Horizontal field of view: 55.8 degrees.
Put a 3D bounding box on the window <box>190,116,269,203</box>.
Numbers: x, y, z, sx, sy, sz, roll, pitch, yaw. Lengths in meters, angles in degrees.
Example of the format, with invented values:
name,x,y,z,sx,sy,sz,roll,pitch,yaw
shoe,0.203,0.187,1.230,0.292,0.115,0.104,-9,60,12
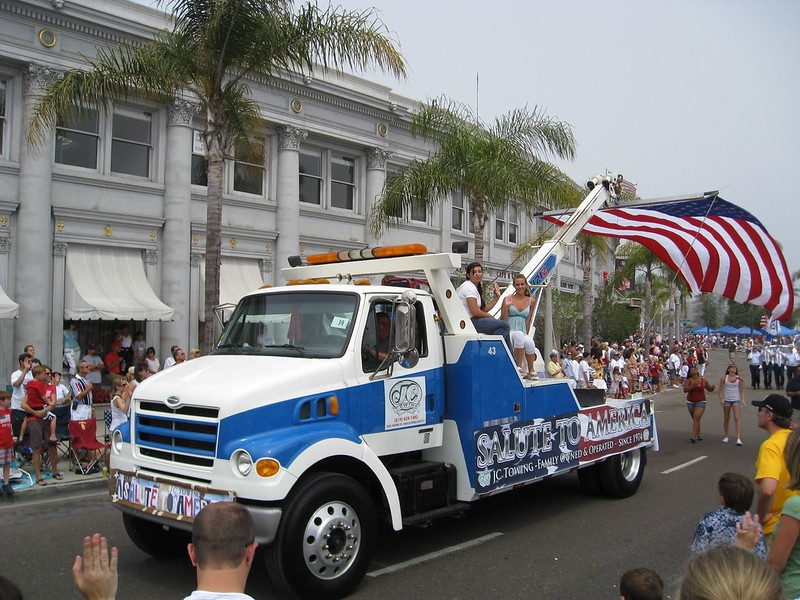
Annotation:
name,x,y,z,sx,sy,sz,roll,pitch,yaw
window,-4.892,-3.969,21.182,0.452,2.078,3.292,-4,-9,40

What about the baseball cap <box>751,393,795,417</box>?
name,x,y,z,sx,sy,sz,roll,pitch,yaw
baseball cap,4.350,1.222,8.827,0.279,0.263,0.404,2,19,-46

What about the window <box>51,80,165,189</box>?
name,x,y,z,sx,sy,sz,roll,pitch,yaw
window,-8.564,-4.740,21.919,2.907,2.259,0.316,3,0,-39

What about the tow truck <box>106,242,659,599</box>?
name,x,y,z,sx,sy,sz,roll,pitch,yaw
tow truck,0.443,1.347,11.723,9.379,4.358,3.046,-4,4,-40

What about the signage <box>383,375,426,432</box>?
name,x,y,z,sx,sy,sz,roll,pitch,yaw
signage,0.031,1.364,9.926,0.028,0.648,0.693,-5,-4,38

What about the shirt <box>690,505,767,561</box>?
name,x,y,z,sx,sy,sz,roll,pitch,yaw
shirt,3.227,2.363,7.696,0.458,0.447,0.425,1,4,33

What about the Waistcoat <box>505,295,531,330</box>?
name,x,y,z,sx,sy,sz,roll,pitch,yaw
Waistcoat,1.924,0.195,12.410,0.426,0.613,0.326,3,-12,-9

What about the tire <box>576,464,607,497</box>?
name,x,y,z,sx,sy,sz,roll,pitch,yaw
tire,3.296,3.075,12.885,0.251,0.810,0.723,-1,-1,31

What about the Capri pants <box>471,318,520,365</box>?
name,x,y,z,sx,sy,sz,roll,pitch,yaw
Capri pants,1.475,0.644,11.537,0.591,0.829,0.655,-11,-6,12

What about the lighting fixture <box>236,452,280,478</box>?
name,x,y,z,sx,sy,sz,roll,pitch,yaw
lighting fixture,-1.638,1.880,8.597,0.277,0.232,0.395,1,-5,42
